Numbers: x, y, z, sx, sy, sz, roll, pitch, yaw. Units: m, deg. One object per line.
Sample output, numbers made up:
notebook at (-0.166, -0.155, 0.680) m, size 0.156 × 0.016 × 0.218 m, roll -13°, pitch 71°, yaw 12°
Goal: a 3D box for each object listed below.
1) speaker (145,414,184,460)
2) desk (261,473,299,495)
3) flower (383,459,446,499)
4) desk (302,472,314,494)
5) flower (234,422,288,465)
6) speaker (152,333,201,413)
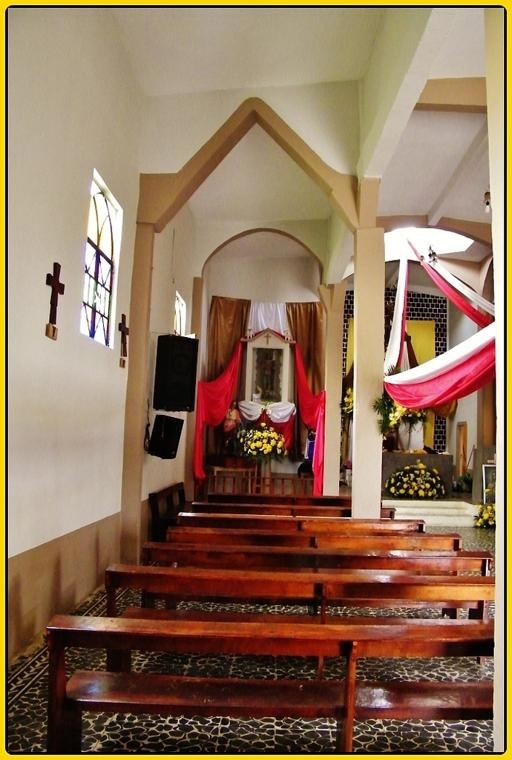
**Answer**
speaker at (-0.999, 0.617, 5.986) m, size 0.352 × 0.482 × 0.558 m, roll 2°, pitch -6°, yaw -9°
desk at (0.453, 1.901, 10.032) m, size 0.671 × 0.317 × 1.486 m, roll 0°, pitch -7°, yaw 10°
flower at (2.926, 1.774, 10.039) m, size 0.606 × 0.583 × 0.750 m, roll 2°, pitch -1°, yaw 21°
desk at (0.918, 1.922, 10.133) m, size 0.219 × 0.281 × 1.614 m, roll 1°, pitch -7°, yaw 5°
flower at (0.145, 1.115, 9.807) m, size 0.607 × 0.664 × 0.867 m, roll -1°, pitch 1°, yaw 2°
speaker at (-0.900, -0.079, 6.237) m, size 0.514 × 0.862 × 0.408 m, roll 3°, pitch -6°, yaw -22°
